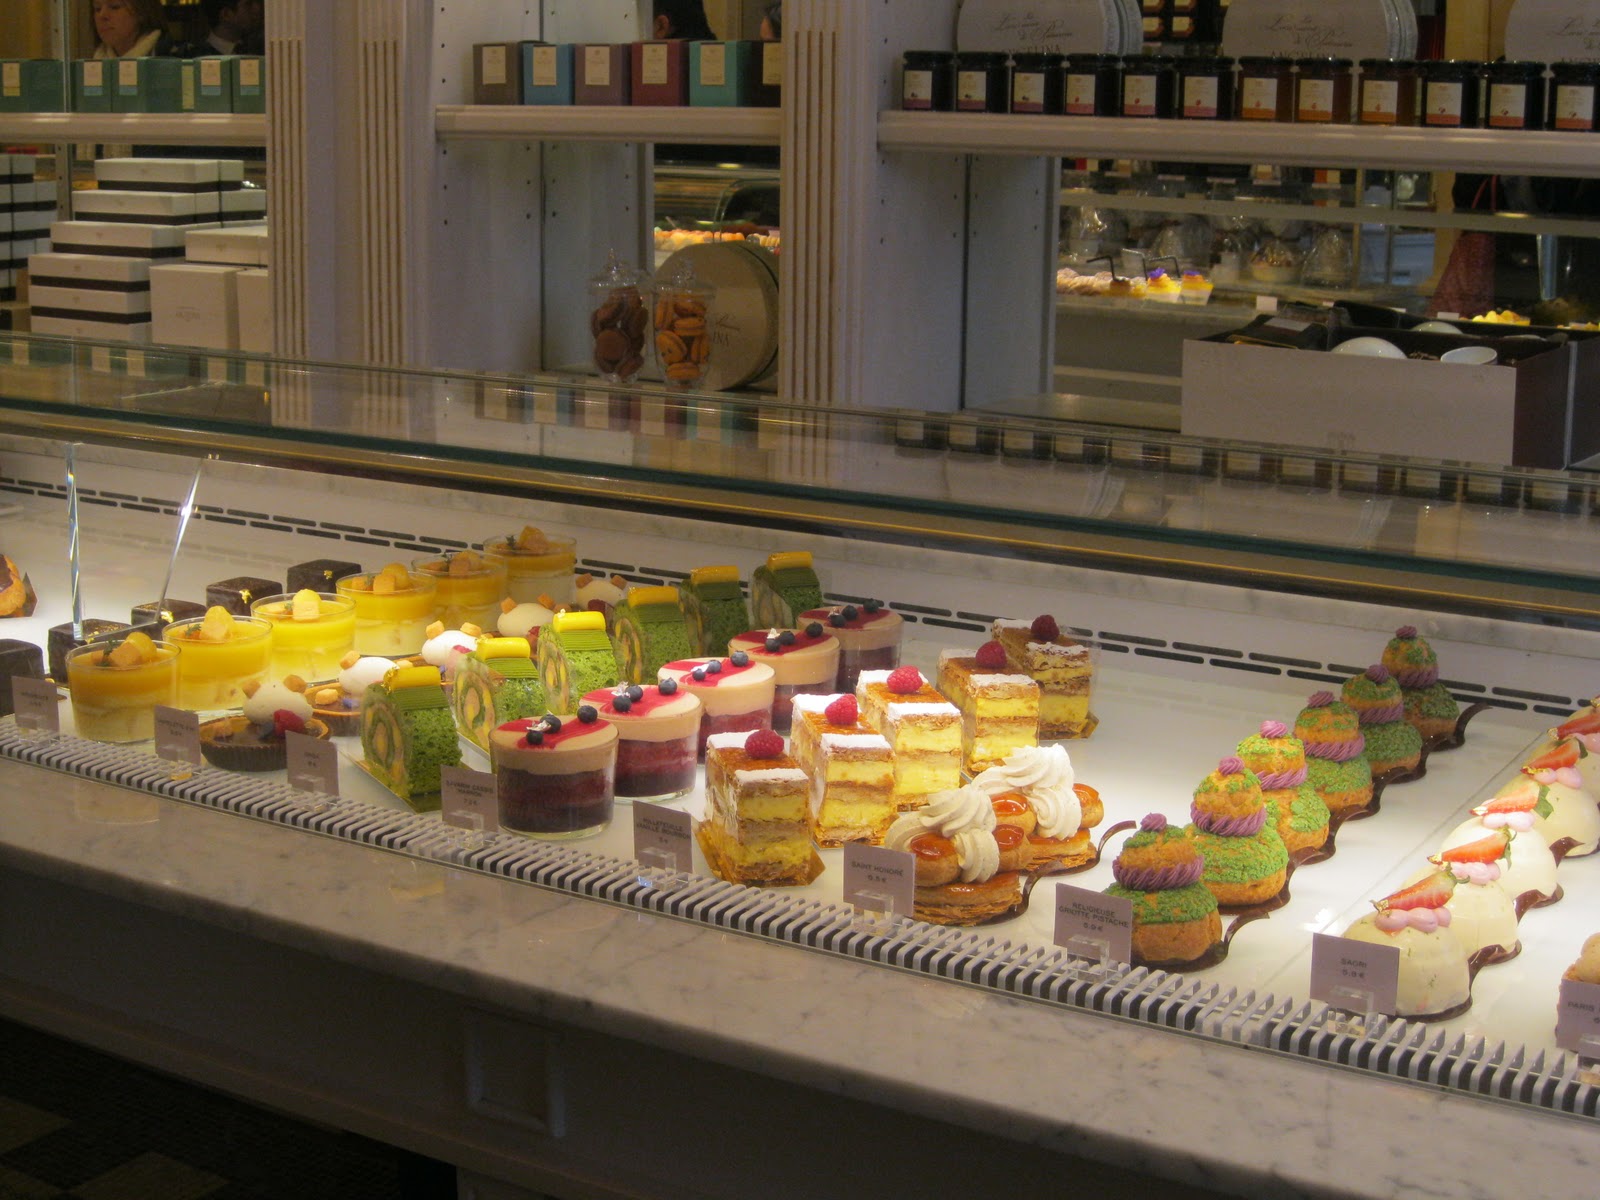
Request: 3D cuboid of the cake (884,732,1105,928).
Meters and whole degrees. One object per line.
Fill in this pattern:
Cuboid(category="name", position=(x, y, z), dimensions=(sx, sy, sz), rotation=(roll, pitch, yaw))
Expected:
Cuboid(category="cake", position=(0.223, 0.246, 1.880), dimensions=(0.181, 0.108, 0.298), rotation=(7, 15, 39))

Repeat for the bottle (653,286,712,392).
Cuboid(category="bottle", position=(-0.275, -0.586, 3.334), dimensions=(0.076, 0.215, 0.166), rotation=(-4, 4, 5))

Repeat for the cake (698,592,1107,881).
Cuboid(category="cake", position=(0.186, 0.158, 1.952), dimensions=(0.361, 0.120, 0.349), rotation=(-6, 20, -11))

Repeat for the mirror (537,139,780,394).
Cuboid(category="mirror", position=(-0.320, -0.835, 3.803), dimensions=(0.721, 0.630, 0.179), rotation=(8, 7, 41))

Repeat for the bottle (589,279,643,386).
Cuboid(category="bottle", position=(-0.433, -0.621, 3.479), dimensions=(0.129, 0.199, 0.205), rotation=(10, -3, -7))

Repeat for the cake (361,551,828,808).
Cuboid(category="cake", position=(-0.452, 0.135, 2.249), dimensions=(0.412, 0.131, 0.399), rotation=(-16, 20, -29))
